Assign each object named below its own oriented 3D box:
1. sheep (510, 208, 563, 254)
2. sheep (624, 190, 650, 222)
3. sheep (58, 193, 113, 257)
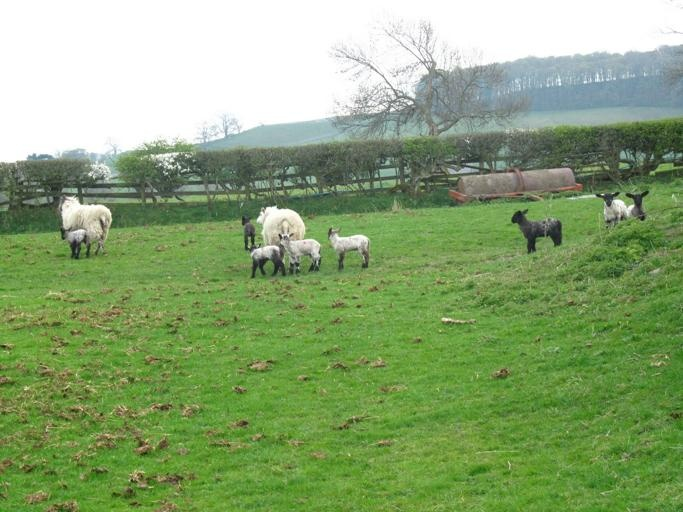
[{"bbox_3d":[7.712,-0.985,39.295,1.992,1.643,0.659,-3,12,24],"label":"sheep"},{"bbox_3d":[11.453,-1.925,38.649,0.894,1.536,2.197,-4,-1,7],"label":"sheep"},{"bbox_3d":[-11.566,-0.965,43.911,1.988,3.202,1.978,-10,17,-43],"label":"sheep"}]
